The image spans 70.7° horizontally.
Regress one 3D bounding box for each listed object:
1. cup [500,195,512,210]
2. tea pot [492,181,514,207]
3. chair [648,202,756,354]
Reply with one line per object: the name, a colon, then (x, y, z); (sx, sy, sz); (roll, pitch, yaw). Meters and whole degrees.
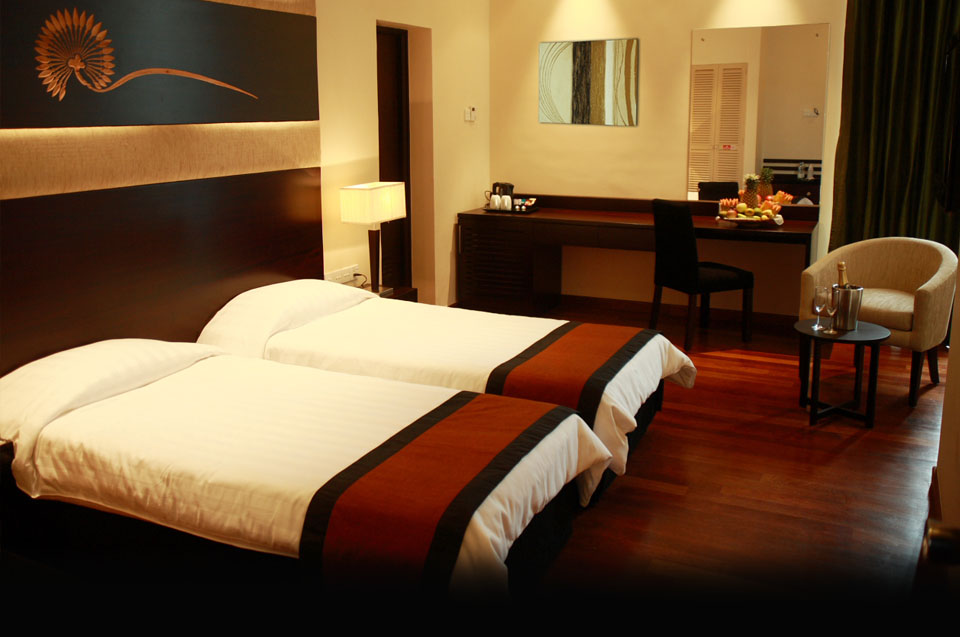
cup: (0.236, -1.038, 6.118); (0.106, 0.155, 0.109); (-2, 5, 0)
tea pot: (0.250, -1.105, 6.175); (0.255, 0.263, 0.148); (1, 6, 12)
chair: (1.658, -0.331, 5.198); (0.695, 1.082, 0.504); (2, 16, 3)
